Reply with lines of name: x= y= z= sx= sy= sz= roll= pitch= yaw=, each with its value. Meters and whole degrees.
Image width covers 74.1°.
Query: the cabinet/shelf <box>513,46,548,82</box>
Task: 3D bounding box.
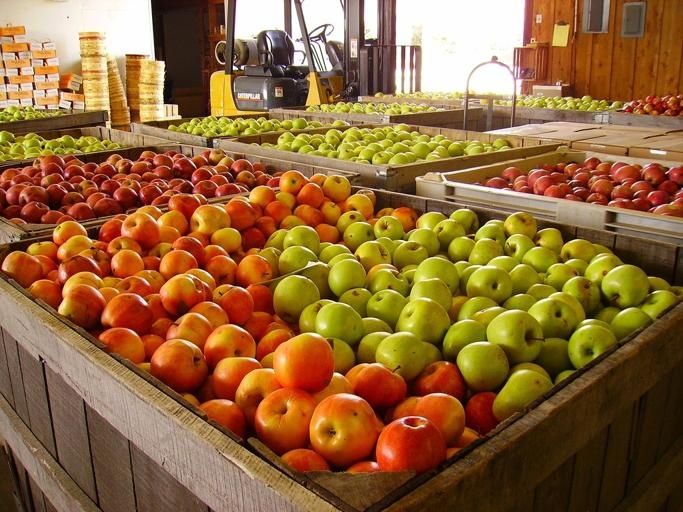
cabinet/shelf: x=4.870 y=-4.932 z=11.579 sx=0.861 sy=0.857 sz=0.334 roll=3 pitch=13 yaw=20

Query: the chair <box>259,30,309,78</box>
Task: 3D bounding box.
chair: x=-1.219 y=-3.974 z=8.936 sx=0.832 sy=1.135 sz=1.096 roll=-19 pitch=27 yaw=-38
